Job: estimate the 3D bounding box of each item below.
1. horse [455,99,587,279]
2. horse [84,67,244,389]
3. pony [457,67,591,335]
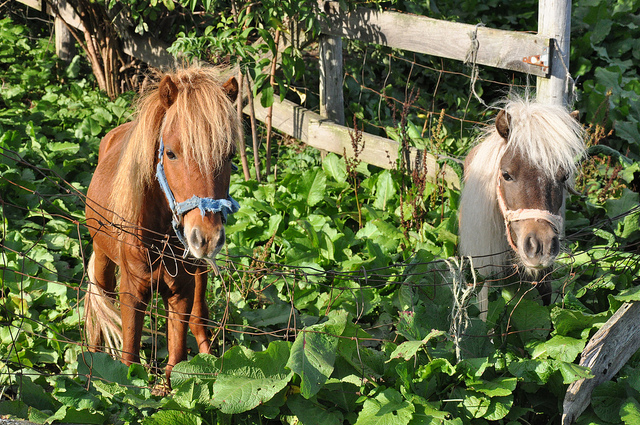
[{"bbox_3d":[2.076,-0.091,8.678,0.929,2.344,2.827,-4,10,0],"label":"horse"},{"bbox_3d":[-1.576,0.140,7.477,1.680,2.960,0.953,5,11,29],"label":"horse"},{"bbox_3d":[1.942,-0.043,7.724,1.209,2.178,1.076,3,10,19],"label":"pony"}]
